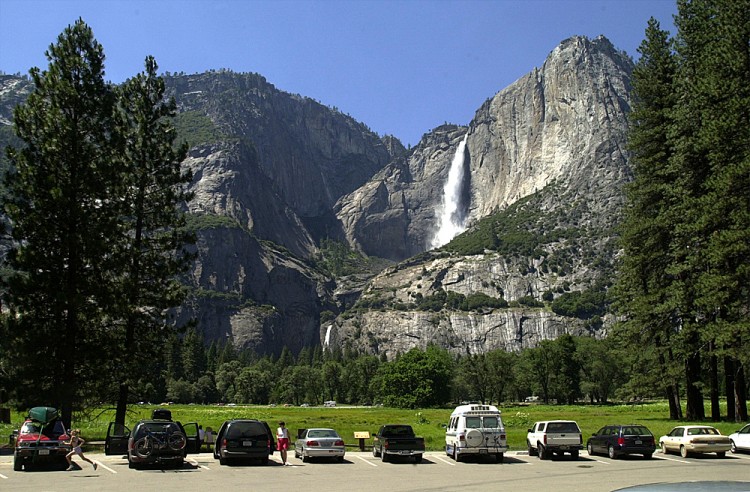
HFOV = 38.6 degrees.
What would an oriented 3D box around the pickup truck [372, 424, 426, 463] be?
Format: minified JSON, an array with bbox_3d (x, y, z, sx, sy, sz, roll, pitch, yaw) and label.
[{"bbox_3d":[2.968,21.450,117.813,4.706,3.914,2.428,-3,-16,9],"label":"pickup truck"}]

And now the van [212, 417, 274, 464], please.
[{"bbox_3d":[-13.876,20.757,115.198,4.373,4.193,9.970,1,-5,-12],"label":"van"}]

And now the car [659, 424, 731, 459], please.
[{"bbox_3d":[35.176,21.749,120.038,3.418,2.094,6.345,0,-5,-10],"label":"car"}]

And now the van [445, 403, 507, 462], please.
[{"bbox_3d":[11.140,20.719,119.437,4.274,4.133,7.525,1,-9,-2],"label":"van"}]
